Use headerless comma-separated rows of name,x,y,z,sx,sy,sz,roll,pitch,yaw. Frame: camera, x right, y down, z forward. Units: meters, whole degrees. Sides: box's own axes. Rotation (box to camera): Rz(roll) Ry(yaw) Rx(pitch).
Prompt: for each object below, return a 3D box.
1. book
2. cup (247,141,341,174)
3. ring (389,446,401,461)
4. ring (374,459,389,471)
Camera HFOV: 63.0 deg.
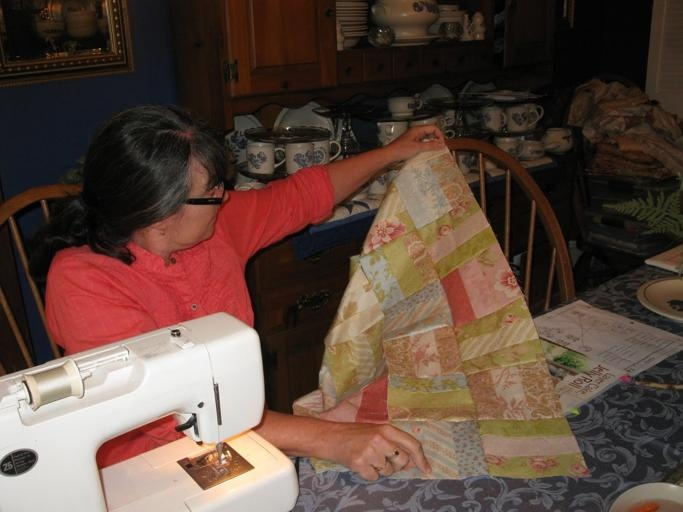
book,0.560,0.223,1.271,0.277,0.018,0.181,-17,35,-25
cup,-0.189,-0.349,1.986,0.277,0.086,0.164,0,9,6
ring,0.088,0.340,0.958,0.012,0.021,0.018,33,34,-10
ring,0.066,0.362,0.955,0.024,0.015,0.022,-1,4,0
